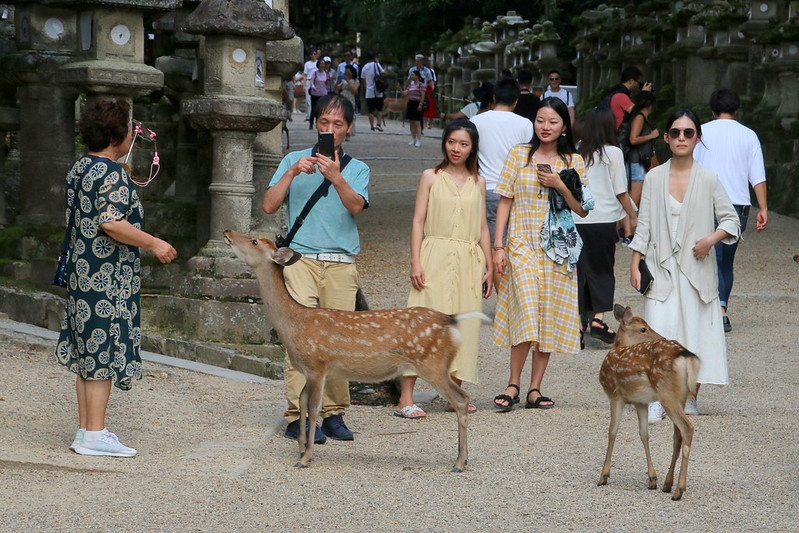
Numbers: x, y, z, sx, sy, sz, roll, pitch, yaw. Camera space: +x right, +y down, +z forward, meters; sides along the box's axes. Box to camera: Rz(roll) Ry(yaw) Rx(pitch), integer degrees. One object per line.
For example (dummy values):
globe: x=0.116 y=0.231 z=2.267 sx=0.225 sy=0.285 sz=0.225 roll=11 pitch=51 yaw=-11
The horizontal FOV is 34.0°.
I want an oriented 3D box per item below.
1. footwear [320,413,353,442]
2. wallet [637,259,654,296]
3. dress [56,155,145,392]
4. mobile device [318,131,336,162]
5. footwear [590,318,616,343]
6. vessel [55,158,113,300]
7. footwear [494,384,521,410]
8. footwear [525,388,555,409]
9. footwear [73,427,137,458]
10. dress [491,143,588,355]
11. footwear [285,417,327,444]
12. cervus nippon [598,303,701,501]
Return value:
footwear: x=-0.533 y=1.386 z=11.134 sx=0.147 sy=0.214 sz=0.330 roll=2 pitch=1 yaw=-45
wallet: x=2.179 y=0.101 z=11.521 sx=0.074 sy=0.237 sz=0.234 roll=0 pitch=51 yaw=-20
dress: x=-2.410 y=0.047 z=10.420 sx=0.688 sy=1.849 sz=0.409 roll=1 pitch=8 yaw=-6
mobile device: x=-0.605 y=-0.993 z=10.820 sx=0.148 sy=0.227 sz=0.186 roll=1 pitch=7 yaw=-5
footwear: x=2.141 y=0.696 z=13.885 sx=0.355 sy=0.142 sz=0.163 roll=21 pitch=12 yaw=-34
vessel: x=-2.618 y=-0.322 z=10.533 sx=0.318 sy=1.161 sz=0.369 roll=11 pitch=-1 yaw=23
footwear: x=0.987 y=1.210 z=11.883 sx=0.134 sy=0.128 sz=0.319 roll=-1 pitch=-1 yaw=26
footwear: x=1.289 y=1.211 z=11.876 sx=0.140 sy=0.124 sz=0.271 roll=-4 pitch=1 yaw=-35
footwear: x=-2.369 y=1.421 z=10.542 sx=0.570 sy=0.230 sz=0.204 roll=3 pitch=1 yaw=-9
dress: x=1.257 y=-0.152 z=11.768 sx=0.828 sy=1.862 sz=0.523 roll=4 pitch=8 yaw=14
footwear: x=-0.767 y=1.392 z=11.057 sx=0.401 sy=0.165 sz=0.156 roll=2 pitch=6 yaw=27
cervus nippon: x=1.974 y=1.052 z=10.345 sx=0.775 sy=1.347 sz=0.848 roll=4 pitch=8 yaw=16
